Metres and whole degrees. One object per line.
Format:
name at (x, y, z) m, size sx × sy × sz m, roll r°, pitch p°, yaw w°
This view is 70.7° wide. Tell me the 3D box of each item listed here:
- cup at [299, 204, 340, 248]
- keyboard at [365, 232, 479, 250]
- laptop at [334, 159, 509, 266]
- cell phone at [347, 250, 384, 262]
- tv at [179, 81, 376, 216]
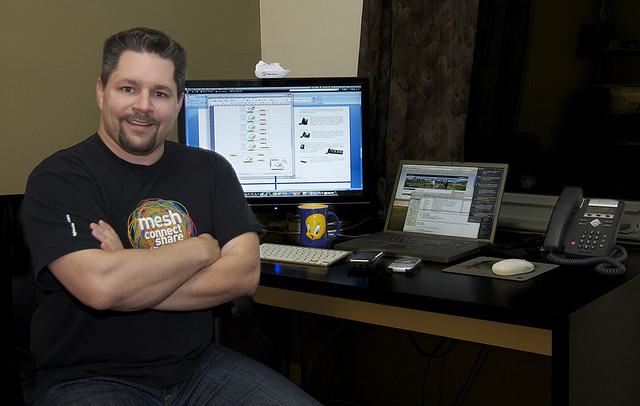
cup at (0.000, 0.095, 1.780) m, size 0.189 × 0.162 × 0.115 m, roll -1°, pitch 5°, yaw -2°
keyboard at (0.378, 0.138, 1.711) m, size 0.379 × 0.014 × 0.129 m, roll 7°, pitch 17°, yaw 27°
laptop at (0.378, 0.013, 1.699) m, size 0.457 × 0.282 × 0.499 m, roll -11°, pitch 12°, yaw -40°
cell phone at (0.158, 0.180, 1.533) m, size 0.075 × 0.012 × 0.127 m, roll 6°, pitch 13°, yaw 24°
tv at (-0.187, -0.248, 1.872) m, size 0.813 × 0.532 × 0.073 m, roll 0°, pitch 15°, yaw 9°
